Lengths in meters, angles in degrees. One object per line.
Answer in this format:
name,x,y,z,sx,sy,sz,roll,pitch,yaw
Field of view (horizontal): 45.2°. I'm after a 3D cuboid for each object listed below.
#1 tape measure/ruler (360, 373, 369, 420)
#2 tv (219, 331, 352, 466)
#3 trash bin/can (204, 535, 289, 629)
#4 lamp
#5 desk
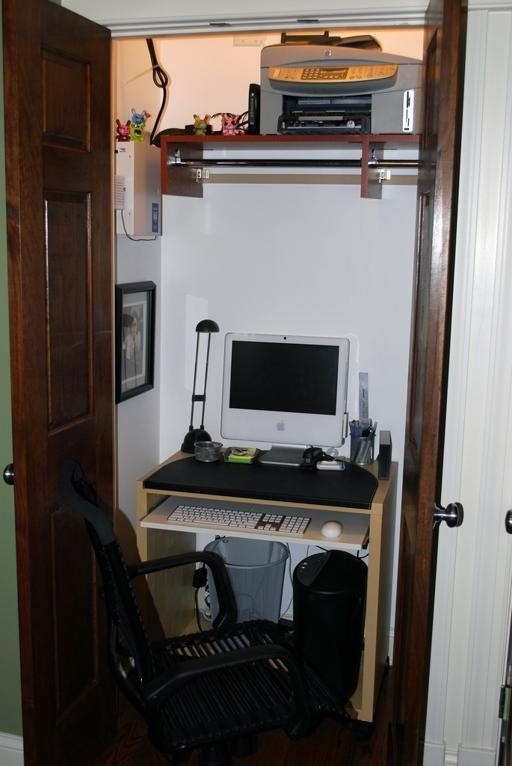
tape measure/ruler,0.451,0.052,2.558,0.046,0.196,0.076,2,8,5
tv,0.123,0.056,2.505,0.412,0.468,0.146,4,1,13
trash bin/can,-0.008,0.741,2.681,0.387,0.511,0.449,0,3,-1
lamp,-0.244,-0.001,2.648,0.147,0.555,0.339,1,8,-3
desk,0.021,0.791,2.378,0.850,0.976,0.520,2,9,20
